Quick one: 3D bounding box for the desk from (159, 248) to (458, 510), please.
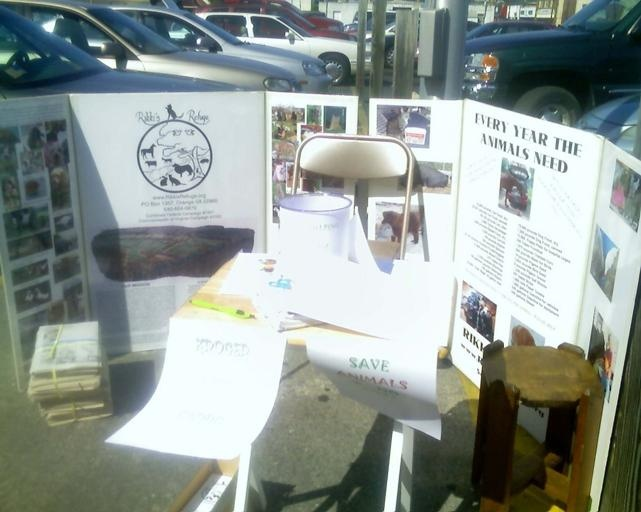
[{"bbox_3d":[-0.018,0.574,2.205,0.893,1.058,0.951,9,29,21],"label":"desk"}]

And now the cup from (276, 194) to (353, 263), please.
[{"bbox_3d":[-0.025,-0.108,2.124,0.269,0.330,0.308,5,21,5],"label":"cup"}]
